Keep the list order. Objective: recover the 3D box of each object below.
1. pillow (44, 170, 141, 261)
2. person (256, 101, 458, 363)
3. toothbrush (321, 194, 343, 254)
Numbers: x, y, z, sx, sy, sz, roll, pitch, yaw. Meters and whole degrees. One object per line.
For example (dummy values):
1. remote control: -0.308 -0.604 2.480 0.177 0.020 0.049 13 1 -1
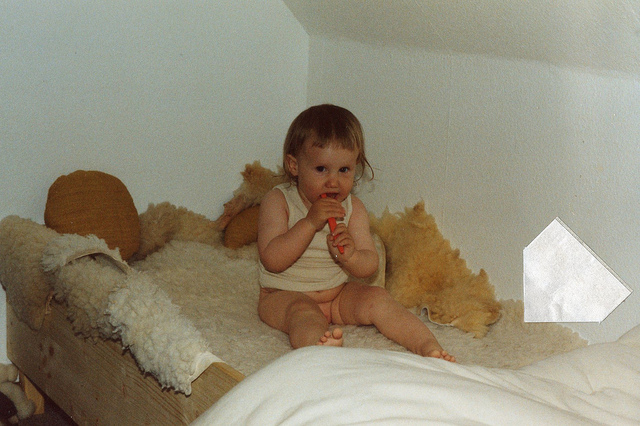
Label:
1. pillow: -0.859 -0.013 2.228 0.343 0.365 0.163 -4 -15 -37
2. person: 0.060 0.075 2.010 0.436 0.893 0.847 -3 6 -18
3. toothbrush: 0.045 0.048 2.040 0.024 0.226 0.023 -12 -11 -37
